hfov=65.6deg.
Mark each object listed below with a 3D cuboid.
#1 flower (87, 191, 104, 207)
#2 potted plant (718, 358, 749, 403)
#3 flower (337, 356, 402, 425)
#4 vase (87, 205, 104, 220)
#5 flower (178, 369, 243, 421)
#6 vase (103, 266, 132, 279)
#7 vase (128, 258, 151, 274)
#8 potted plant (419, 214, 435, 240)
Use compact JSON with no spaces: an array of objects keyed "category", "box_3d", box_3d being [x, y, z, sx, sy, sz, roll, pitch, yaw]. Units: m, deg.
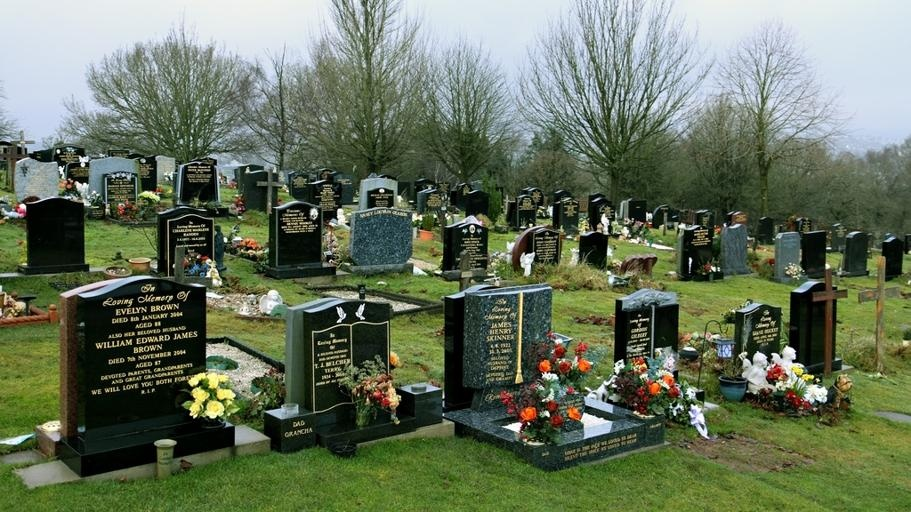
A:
[{"category":"flower","box_3d":[-13.462,-2.127,26.552,0.428,0.464,0.547,-14,-22,37]},{"category":"potted plant","box_3d":[6.183,2.784,15.737,0.669,0.862,0.617,-3,9,-16]},{"category":"flower","box_3d":[-1.575,2.600,13.113,1.151,1.085,1.186,8,19,10]},{"category":"vase","box_3d":[-13.339,-1.623,26.352,0.587,0.390,0.575,4,7,30]},{"category":"flower","box_3d":[-4.246,2.596,12.526,0.752,0.595,0.724,5,40,-51]},{"category":"vase","box_3d":[-8.941,0.444,18.758,0.572,0.340,0.519,4,12,-11]},{"category":"vase","box_3d":[-8.547,0.263,19.303,0.495,0.313,0.477,-4,8,-43]},{"category":"potted plant","box_3d":[-1.165,-1.212,29.447,0.649,1.020,0.964,-1,4,-4]}]
